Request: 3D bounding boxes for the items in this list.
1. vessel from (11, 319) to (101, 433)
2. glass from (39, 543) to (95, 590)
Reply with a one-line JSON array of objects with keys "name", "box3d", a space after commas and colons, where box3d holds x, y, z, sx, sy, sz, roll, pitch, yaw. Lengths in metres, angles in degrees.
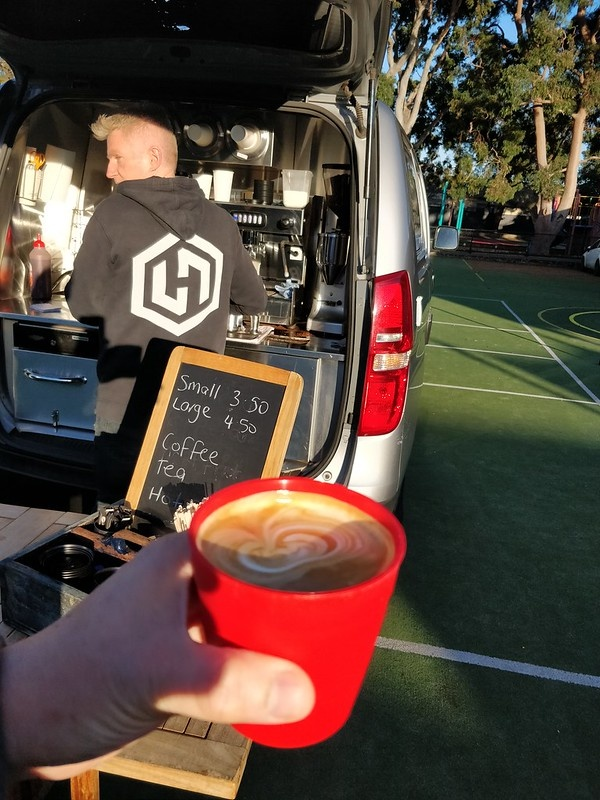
[{"name": "vessel", "box3d": [-1.407, -0.160, 3.530, 0.580, 0.607, 0.378, 5, 4, 8]}, {"name": "glass", "box3d": [-0.587, 0.407, 1.428, 0.094, 0.033, 0.086, -2, 23, -33]}]
